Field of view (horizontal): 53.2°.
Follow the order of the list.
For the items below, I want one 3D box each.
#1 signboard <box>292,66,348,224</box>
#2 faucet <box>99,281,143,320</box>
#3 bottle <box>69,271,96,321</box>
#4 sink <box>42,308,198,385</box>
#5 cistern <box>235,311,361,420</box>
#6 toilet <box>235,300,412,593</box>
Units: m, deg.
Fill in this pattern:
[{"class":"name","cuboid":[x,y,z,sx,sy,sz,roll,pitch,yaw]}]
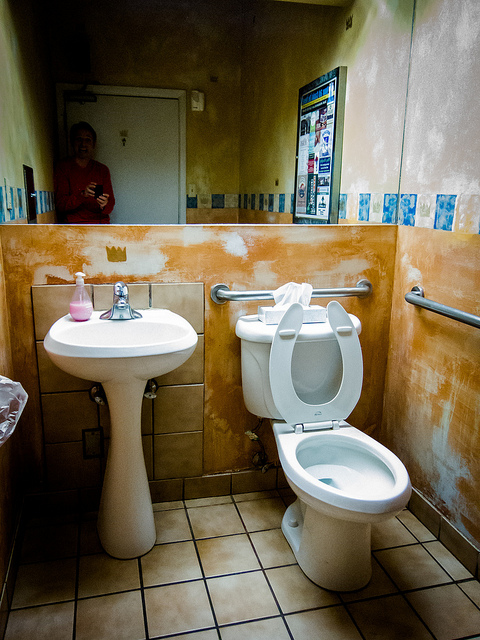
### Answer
[{"class":"signboard","cuboid":[0.289,-0.629,1.722,0.202,0.549,0.050,-3,8,-23]},{"class":"faucet","cuboid":[-0.364,-0.062,1.410,0.075,0.102,0.129,0,10,-10]},{"class":"bottle","cuboid":[-0.484,-0.068,1.453,0.060,0.162,0.063,-5,-10,-1]},{"class":"sink","cuboid":[-0.335,0.090,1.350,0.398,0.168,0.426,-3,11,-25]},{"class":"cistern","cuboid":[0.173,0.147,1.552,0.308,0.379,0.320,-2,1,-8]},{"class":"toilet","cuboid":[0.259,0.357,1.461,0.270,0.781,0.595,-3,12,-15]}]
